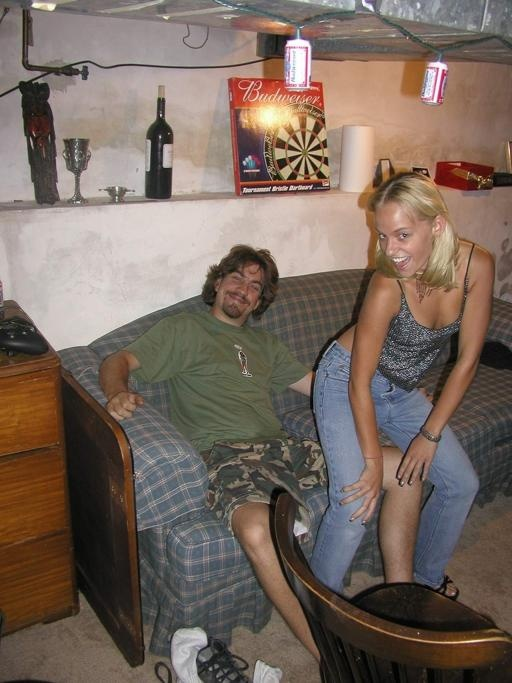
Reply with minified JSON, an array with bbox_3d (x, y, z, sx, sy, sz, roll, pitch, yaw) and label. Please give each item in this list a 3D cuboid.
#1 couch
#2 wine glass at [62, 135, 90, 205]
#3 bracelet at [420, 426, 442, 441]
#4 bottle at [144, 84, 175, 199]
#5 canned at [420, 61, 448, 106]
[{"bbox_3d":[0.027,0.364,1.611,1.130,0.543,0.513,-20,39,-27],"label":"couch"},{"bbox_3d":[-0.618,-0.598,1.914,0.093,0.209,0.188,-6,23,-14],"label":"wine glass"},{"bbox_3d":[0.508,0.265,1.590,0.047,0.017,0.038,20,5,20],"label":"bracelet"},{"bbox_3d":[-0.365,-0.669,2.046,0.109,0.270,0.084,-5,24,-11],"label":"bottle"},{"bbox_3d":[0.584,-0.849,1.798,0.073,0.135,0.243,6,22,14],"label":"canned"}]
